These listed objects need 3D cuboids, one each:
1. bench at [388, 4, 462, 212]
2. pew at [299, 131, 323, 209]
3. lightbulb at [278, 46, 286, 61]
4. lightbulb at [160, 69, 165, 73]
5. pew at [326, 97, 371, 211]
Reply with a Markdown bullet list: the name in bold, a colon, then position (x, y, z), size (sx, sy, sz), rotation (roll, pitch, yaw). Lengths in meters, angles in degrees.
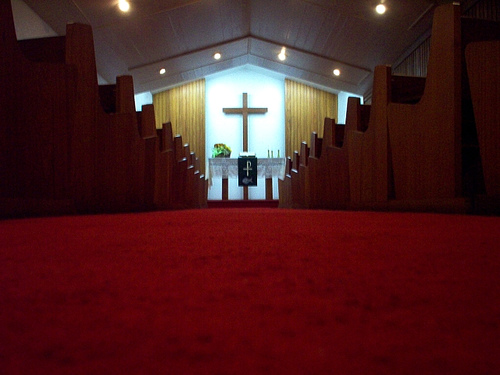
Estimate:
- **bench**: position (0.925, -0.401, 1.922), size (0.154, 1.068, 0.526), rotation (0, 1, -19)
- **pew**: position (0.633, -0.185, 3.877), size (0.167, 0.793, 0.261), rotation (-1, 6, 1)
- **lightbulb**: position (0.781, -3.194, 8.874), size (0.108, 0.269, 0.135), rotation (6, 38, -4)
- **lightbulb**: position (-2.075, -2.766, 8.743), size (0.105, 0.058, 0.189), rotation (-1, 3, -17)
- **pew**: position (0.707, -0.181, 2.794), size (0.232, 0.971, 0.403), rotation (0, 7, 8)
